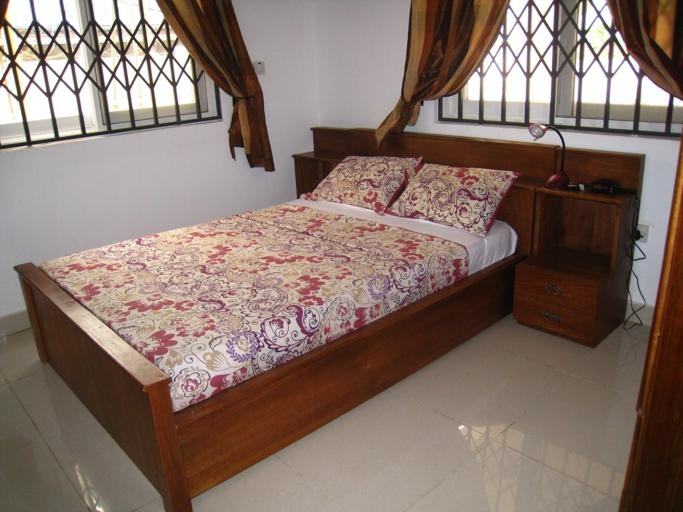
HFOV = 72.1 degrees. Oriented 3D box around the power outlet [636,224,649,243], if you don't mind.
[{"bbox_3d":[2.003,-0.155,3.146,0.101,0.105,0.024,2,11,27],"label":"power outlet"}]
